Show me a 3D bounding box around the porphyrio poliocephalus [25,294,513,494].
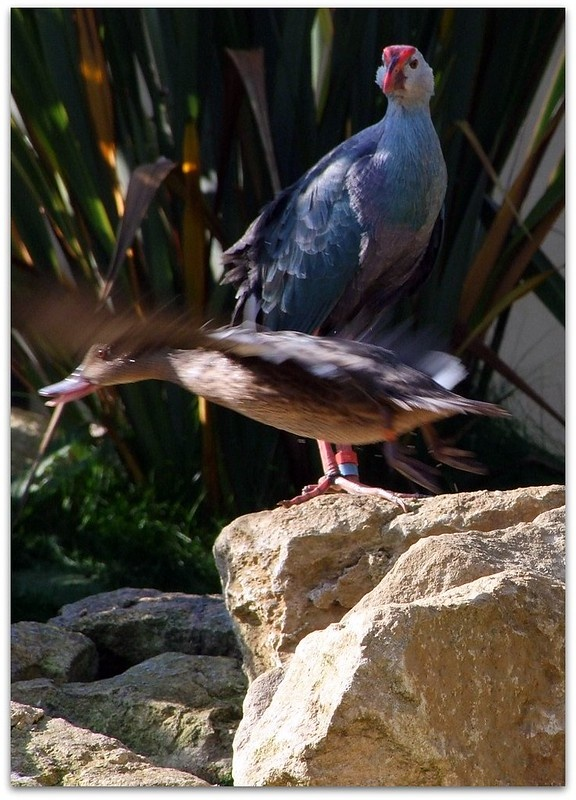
[{"bbox_3d":[-0.047,-0.030,1.243,0.372,0.142,0.387,0,-1,30],"label":"porphyrio poliocephalus"}]
